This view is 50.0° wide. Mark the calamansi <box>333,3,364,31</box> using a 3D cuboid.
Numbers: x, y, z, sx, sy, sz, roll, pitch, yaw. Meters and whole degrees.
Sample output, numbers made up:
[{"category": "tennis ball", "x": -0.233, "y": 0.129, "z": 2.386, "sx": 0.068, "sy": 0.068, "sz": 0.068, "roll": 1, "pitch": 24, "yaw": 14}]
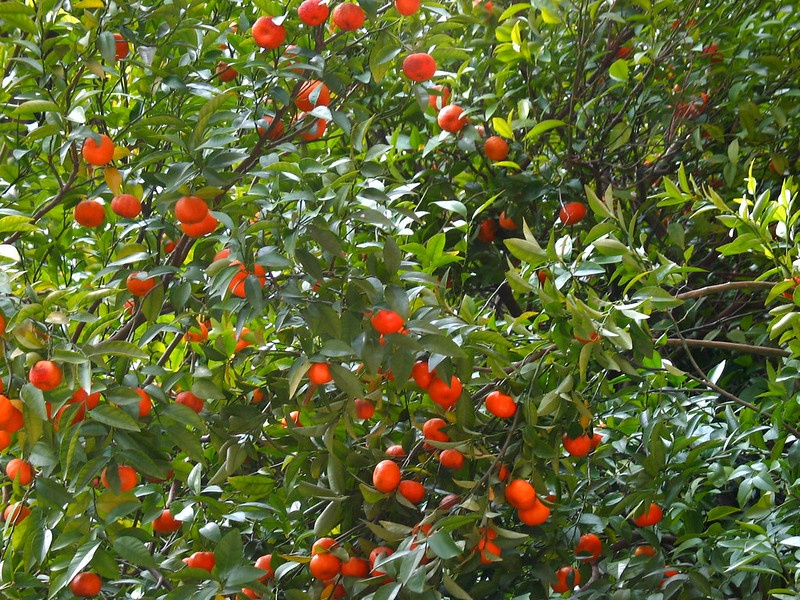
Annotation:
[{"category": "calamansi", "x": -0.177, "y": -0.993, "z": 3.051, "sx": 0.102, "sy": 0.100, "sz": 0.098, "roll": 8, "pitch": 60, "yaw": -15}]

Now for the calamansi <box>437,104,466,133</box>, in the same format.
[{"category": "calamansi", "x": 0.223, "y": -0.759, "z": 3.639, "sx": 0.109, "sy": 0.109, "sz": 0.110, "roll": 15, "pitch": 23, "yaw": 4}]

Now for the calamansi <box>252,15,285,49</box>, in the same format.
[{"category": "calamansi", "x": -0.478, "y": -0.974, "z": 3.126, "sx": 0.111, "sy": 0.129, "sz": 0.119, "roll": 14, "pitch": 39, "yaw": -7}]
